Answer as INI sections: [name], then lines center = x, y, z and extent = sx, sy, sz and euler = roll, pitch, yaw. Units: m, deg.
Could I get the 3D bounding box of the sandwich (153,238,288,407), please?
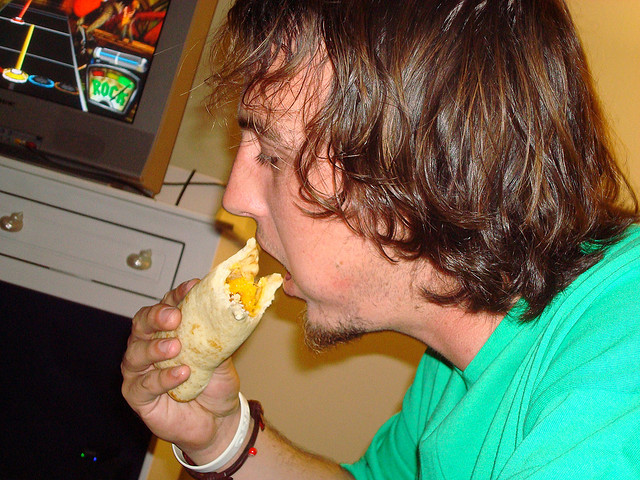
[sandwich]
center = -0.212, 0.201, 1.245
extent = 0.133, 0.371, 0.240
euler = 10, 44, -44
